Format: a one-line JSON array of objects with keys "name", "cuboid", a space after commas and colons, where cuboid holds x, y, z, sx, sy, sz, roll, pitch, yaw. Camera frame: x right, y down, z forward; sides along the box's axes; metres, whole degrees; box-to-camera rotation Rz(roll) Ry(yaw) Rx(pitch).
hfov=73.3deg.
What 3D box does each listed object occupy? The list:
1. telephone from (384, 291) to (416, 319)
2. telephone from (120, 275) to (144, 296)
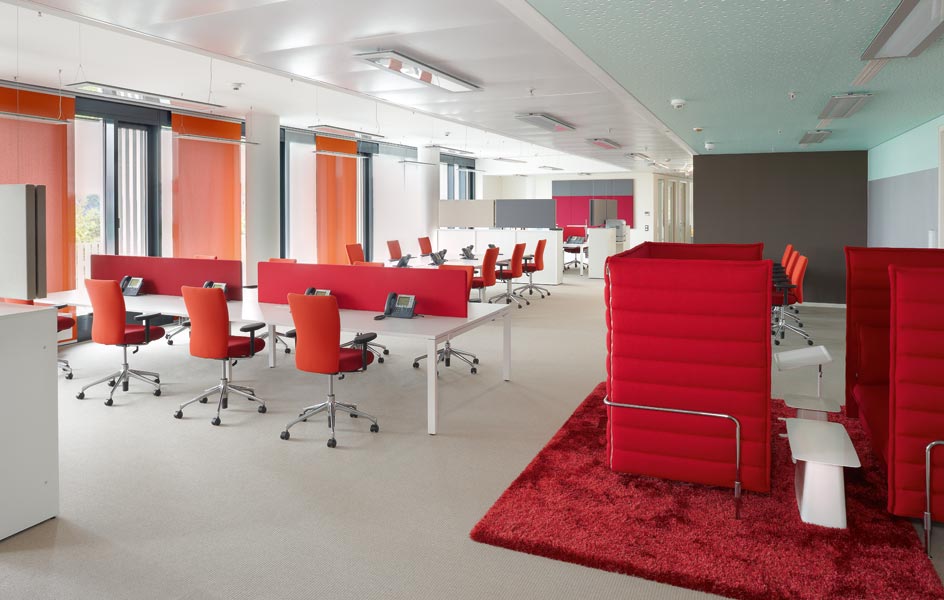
[{"name": "telephone", "cuboid": [-0.836, 0.053, 7.654, 0.388, 0.334, 0.300, 0, 0, 13]}, {"name": "telephone", "cuboid": [-4.790, -0.195, 8.898, 0.280, 0.256, 0.146, 8, -25, 14]}]
